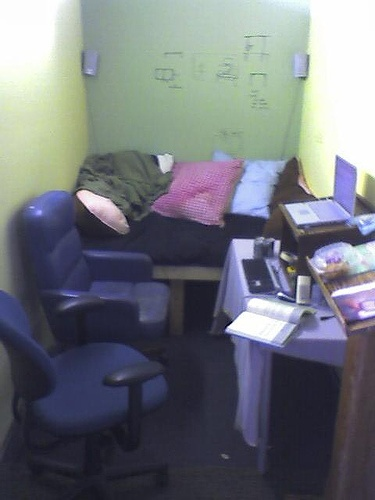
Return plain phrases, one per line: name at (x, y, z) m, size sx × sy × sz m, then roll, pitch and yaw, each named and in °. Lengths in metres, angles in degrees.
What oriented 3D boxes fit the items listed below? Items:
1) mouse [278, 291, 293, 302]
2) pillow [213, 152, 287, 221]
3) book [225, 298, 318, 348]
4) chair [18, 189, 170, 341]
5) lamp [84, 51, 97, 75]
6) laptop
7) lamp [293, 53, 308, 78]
mouse at (0.399, 0.194, 1.763) m, size 0.030 × 0.012 × 0.052 m, roll -15°, pitch 34°, yaw -27°
pillow at (0.452, -0.363, 3.154) m, size 0.464 × 0.154 × 0.737 m, roll 3°, pitch 40°, yaw 13°
book at (0.288, 0.259, 1.564) m, size 0.180 × 0.037 × 0.204 m, roll 6°, pitch 28°, yaw 32°
chair at (-0.421, 0.131, 2.166) m, size 0.699 × 0.765 × 0.600 m, roll -2°, pitch 23°, yaw -13°
lamp at (-0.773, -1.472, 3.380) m, size 0.110 × 0.172 × 0.095 m, roll 0°, pitch 33°, yaw -5°
laptop at (0.591, -0.233, 1.833) m, size 0.318 × 0.233 × 0.307 m, roll -9°, pitch 29°, yaw -3°
lamp at (0.921, -1.489, 3.492) m, size 0.117 × 0.190 × 0.092 m, roll 3°, pitch 32°, yaw 1°
